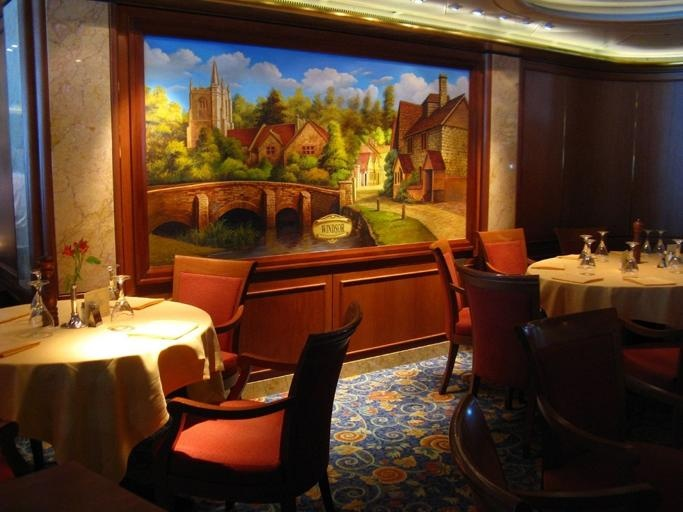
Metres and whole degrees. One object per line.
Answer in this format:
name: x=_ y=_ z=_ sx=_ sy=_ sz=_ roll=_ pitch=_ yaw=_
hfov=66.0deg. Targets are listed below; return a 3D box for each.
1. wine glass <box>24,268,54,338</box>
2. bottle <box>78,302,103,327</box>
wine glass: x=-1.588 y=0.235 z=2.753 sx=0.122 sy=0.327 sz=0.231 roll=-9 pitch=13 yaw=-31
bottle: x=-1.369 y=0.322 z=2.858 sx=0.069 sy=0.122 sz=0.121 roll=1 pitch=6 yaw=12
